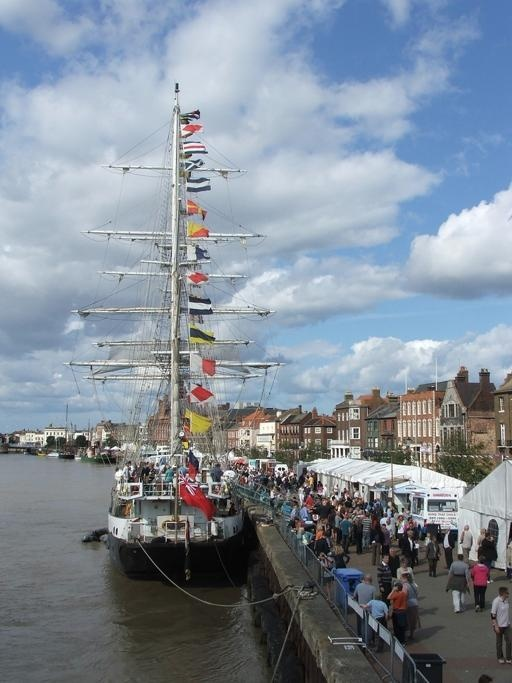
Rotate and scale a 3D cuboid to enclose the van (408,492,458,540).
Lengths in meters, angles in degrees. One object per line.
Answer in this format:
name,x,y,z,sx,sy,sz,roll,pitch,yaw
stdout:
van,6.943,6.487,25.414,1.492,1.223,2.265,1,-5,2
